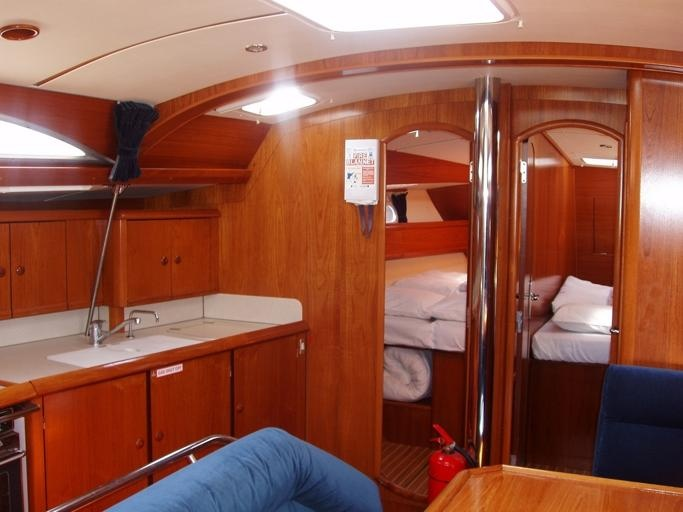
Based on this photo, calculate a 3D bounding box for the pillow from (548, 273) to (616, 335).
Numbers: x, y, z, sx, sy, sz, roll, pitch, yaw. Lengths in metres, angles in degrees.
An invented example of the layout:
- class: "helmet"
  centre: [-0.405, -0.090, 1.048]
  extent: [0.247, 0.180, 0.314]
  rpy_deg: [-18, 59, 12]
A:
- class: "pillow"
  centre: [1.867, 0.408, 4.401]
  extent: [0.504, 0.114, 0.520]
  rpy_deg: [9, 25, 41]

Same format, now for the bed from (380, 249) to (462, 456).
- class: "bed"
  centre: [0.659, 0.702, 4.672]
  extent: [0.722, 1.454, 1.730]
  rpy_deg: [1, -2, 11]

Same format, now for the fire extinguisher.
- class: "fire extinguisher"
  centre: [0.616, 1.201, 3.187]
  extent: [0.242, 0.496, 0.294]
  rpy_deg: [2, -2, -16]

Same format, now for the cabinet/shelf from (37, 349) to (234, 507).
- class: "cabinet/shelf"
  centre: [-1.043, 0.813, 2.667]
  extent: [0.281, 0.612, 0.764]
  rpy_deg: [1, 4, 34]
